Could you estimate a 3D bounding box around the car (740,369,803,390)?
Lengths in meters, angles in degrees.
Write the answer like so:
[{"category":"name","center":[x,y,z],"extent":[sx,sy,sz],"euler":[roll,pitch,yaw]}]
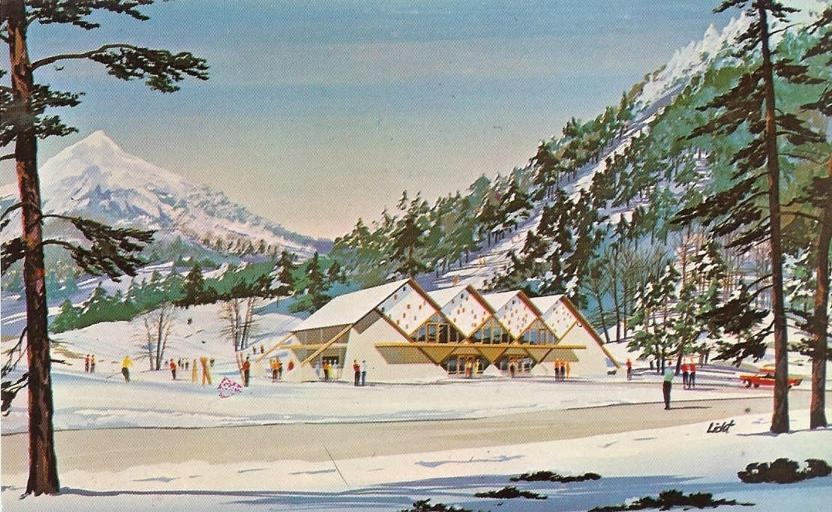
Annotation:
[{"category":"car","center":[19.196,6.753,80.116],"extent":[2.565,0.833,1.470],"euler":[1,-6,12]}]
